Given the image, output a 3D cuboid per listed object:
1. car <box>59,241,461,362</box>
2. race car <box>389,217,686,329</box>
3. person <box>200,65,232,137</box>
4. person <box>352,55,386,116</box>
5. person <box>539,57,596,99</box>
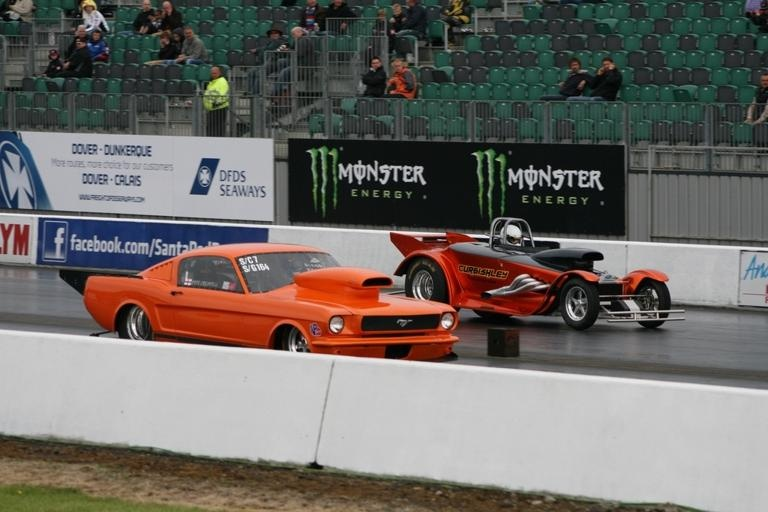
[{"bbox_3d":[-2.000,0.853,25.600,6.074,1.981,2.966,2,3,36],"label":"car"},{"bbox_3d":[2.756,0.277,29.239,2.426,2.048,5.743,1,2,-44],"label":"race car"},{"bbox_3d":[-4.135,-3.807,37.492,0.686,1.673,0.783,4,9,1],"label":"person"},{"bbox_3d":[-0.258,-3.952,36.667,0.501,1.588,0.510,-6,12,-41],"label":"person"},{"bbox_3d":[4.329,-4.132,35.640,0.983,0.981,0.886,0,9,-20],"label":"person"}]
